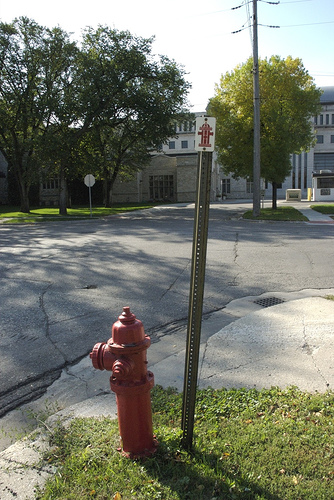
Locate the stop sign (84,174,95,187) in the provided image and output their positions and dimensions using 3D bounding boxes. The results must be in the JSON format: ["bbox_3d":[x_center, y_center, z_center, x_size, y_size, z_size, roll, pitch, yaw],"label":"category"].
[{"bbox_3d":[-4.779,-4.316,28.065,0.522,0.665,1.322,-2,7,-10],"label":"stop sign"}]

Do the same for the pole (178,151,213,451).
[{"bbox_3d":[0.160,0.314,2.668,0.215,1.727,0.415,-1,7,4],"label":"pole"}]

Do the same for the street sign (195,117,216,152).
[{"bbox_3d":[0.203,-0.623,2.439,0.107,0.204,0.265,-1,7,4],"label":"street sign"}]

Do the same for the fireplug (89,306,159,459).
[{"bbox_3d":[-0.256,0.784,2.691,0.379,0.815,0.385,-2,10,0],"label":"fireplug"}]
